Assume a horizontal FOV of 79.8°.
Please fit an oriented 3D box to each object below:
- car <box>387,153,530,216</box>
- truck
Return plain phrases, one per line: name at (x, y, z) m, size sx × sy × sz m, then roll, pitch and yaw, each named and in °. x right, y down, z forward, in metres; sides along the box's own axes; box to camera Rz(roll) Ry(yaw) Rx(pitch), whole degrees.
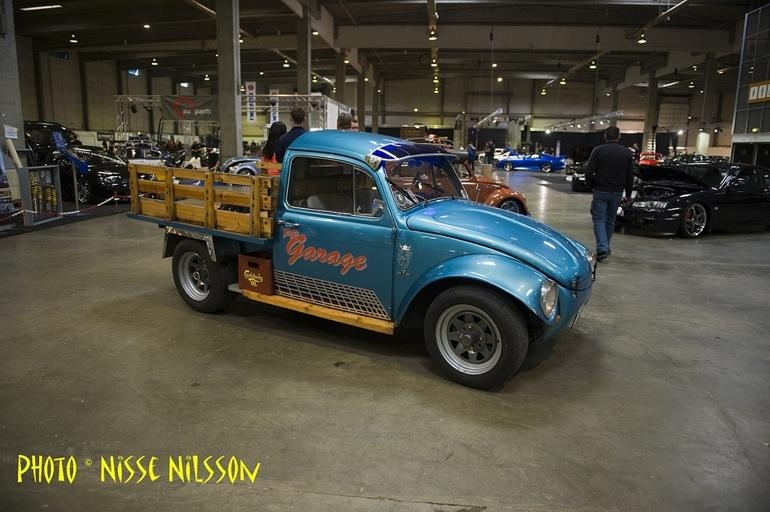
car at (2.133, -1.570, 10.995) m, size 3.029 × 1.383 × 1.577 m, roll -2°, pitch 20°, yaw -8°
truck at (-0.375, -0.497, 6.256) m, size 5.686 × 2.299 × 2.984 m, roll 8°, pitch 19°, yaw 23°
